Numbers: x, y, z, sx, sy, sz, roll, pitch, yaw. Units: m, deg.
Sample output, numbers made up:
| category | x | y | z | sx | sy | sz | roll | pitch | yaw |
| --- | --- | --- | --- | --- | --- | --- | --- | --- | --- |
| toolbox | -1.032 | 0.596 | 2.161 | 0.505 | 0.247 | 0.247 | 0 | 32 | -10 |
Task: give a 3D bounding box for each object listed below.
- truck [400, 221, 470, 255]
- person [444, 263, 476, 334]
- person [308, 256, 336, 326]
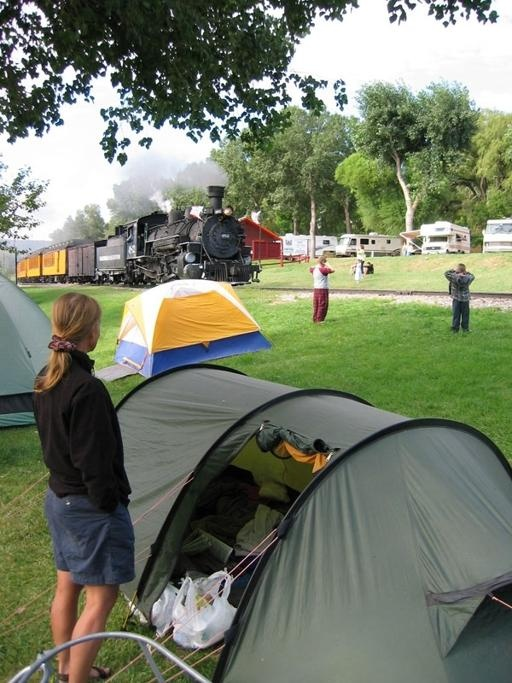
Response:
| category | x | y | z | sx | sy | sz | roll | pitch | yaw |
| --- | --- | --- | --- | --- | --- | --- | --- | --- | --- |
| truck | 12.354 | -7.489 | 36.087 | 4.790 | 2.222 | 3.484 | -3 | 4 | -41 |
| person | 4.407 | -0.955 | 11.764 | 0.511 | 1.537 | 0.895 | 3 | 16 | 27 |
| person | 1.578 | -1.253 | 13.353 | 0.594 | 1.571 | 0.834 | -1 | 1 | -27 |
